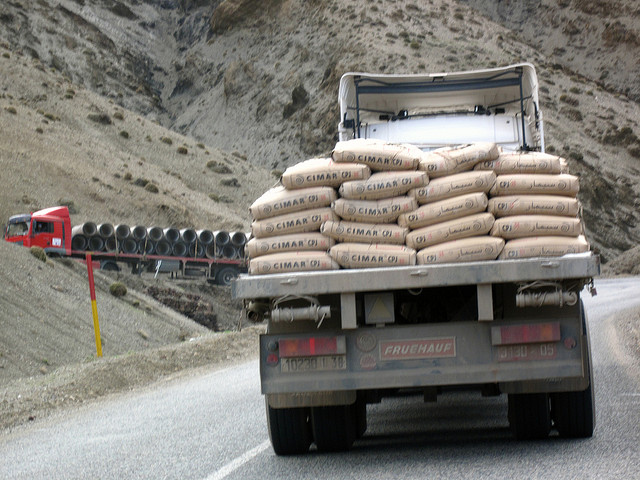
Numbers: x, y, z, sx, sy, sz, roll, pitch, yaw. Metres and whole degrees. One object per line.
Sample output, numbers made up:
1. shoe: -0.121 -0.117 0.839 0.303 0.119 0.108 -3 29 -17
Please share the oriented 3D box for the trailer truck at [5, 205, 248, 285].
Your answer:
1. trailer truck: -8.601 0.314 48.910 11.304 4.026 3.959 -5 5 -29
